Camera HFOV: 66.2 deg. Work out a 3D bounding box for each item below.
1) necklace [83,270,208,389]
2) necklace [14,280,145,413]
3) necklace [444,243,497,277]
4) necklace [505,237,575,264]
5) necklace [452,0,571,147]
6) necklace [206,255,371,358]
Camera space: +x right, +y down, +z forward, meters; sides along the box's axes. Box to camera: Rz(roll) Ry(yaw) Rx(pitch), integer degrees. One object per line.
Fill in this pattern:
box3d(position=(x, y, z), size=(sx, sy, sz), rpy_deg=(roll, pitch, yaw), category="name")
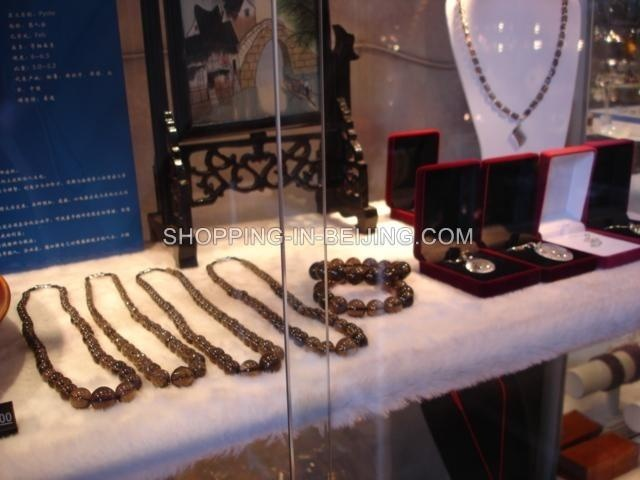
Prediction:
box3d(position=(-0.183, 0.112, 0.525), size=(0.066, 0.032, 0.201), rpy_deg=(-23, 57, -34), category="necklace")
box3d(position=(-0.271, 0.082, 0.527), size=(0.072, 0.030, 0.203), rpy_deg=(-11, 41, -39), category="necklace")
box3d(position=(0.199, 0.024, 0.621), size=(0.043, 0.019, 0.046), rpy_deg=(-18, 30, -28), category="necklace")
box3d(position=(0.304, 0.006, 0.656), size=(0.066, 0.016, 0.037), rpy_deg=(11, 26, 33), category="necklace")
box3d(position=(0.233, -0.213, 0.608), size=(0.122, 0.245, 0.024), rpy_deg=(-10, 8, -20), category="necklace")
box3d(position=(-0.033, 0.071, 0.520), size=(0.072, 0.019, 0.222), rpy_deg=(-18, 40, -37), category="necklace")
